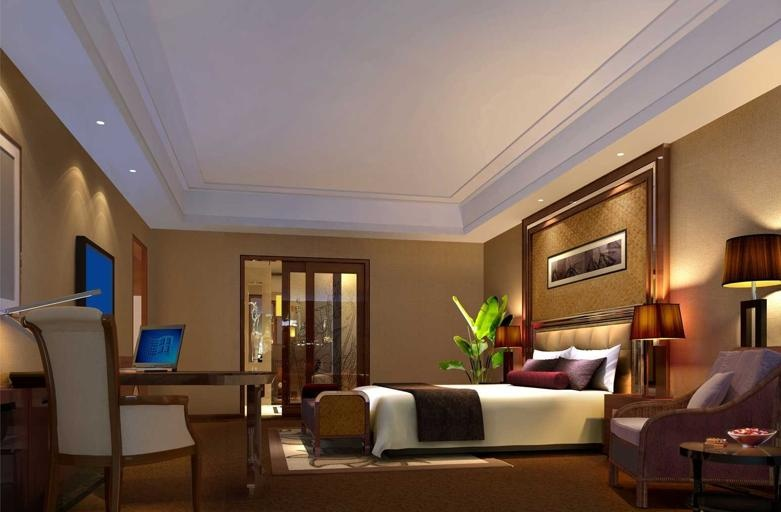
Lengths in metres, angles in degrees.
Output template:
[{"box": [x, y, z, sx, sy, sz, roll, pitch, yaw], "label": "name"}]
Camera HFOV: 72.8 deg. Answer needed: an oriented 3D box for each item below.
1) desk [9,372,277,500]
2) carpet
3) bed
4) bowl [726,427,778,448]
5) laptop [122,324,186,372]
[{"box": [-1.992, 1.498, 4.305, 1.573, 0.785, 0.823, 0, -15, -6], "label": "desk"}, {"box": [-0.153, 2.270, 6.272, 2.571, 0.129, 2.172, 1, -6, -9], "label": "carpet"}, {"box": [1.123, 1.360, 6.510, 1.928, 1.040, 1.966, 3, -12, -7], "label": "bed"}, {"box": [2.489, 1.264, 3.671, 0.267, 0.091, 0.272, -3, -8, 0], "label": "bowl"}, {"box": [-2.193, 0.886, 5.040, 0.530, 0.396, 0.462, -3, -9, 28], "label": "laptop"}]
